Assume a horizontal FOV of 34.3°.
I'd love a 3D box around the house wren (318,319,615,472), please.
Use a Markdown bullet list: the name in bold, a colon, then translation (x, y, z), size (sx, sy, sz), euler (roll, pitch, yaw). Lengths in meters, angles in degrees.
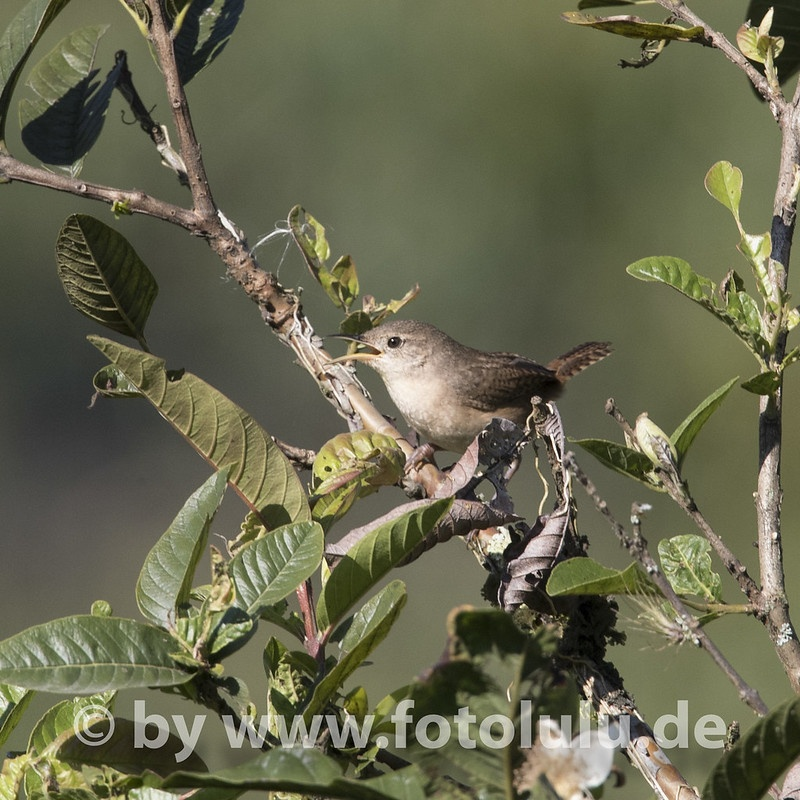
- **house wren**: translation (0.250, -0.053, 4.048), size (0.939, 0.366, 0.484), euler (-4, -101, -12)
